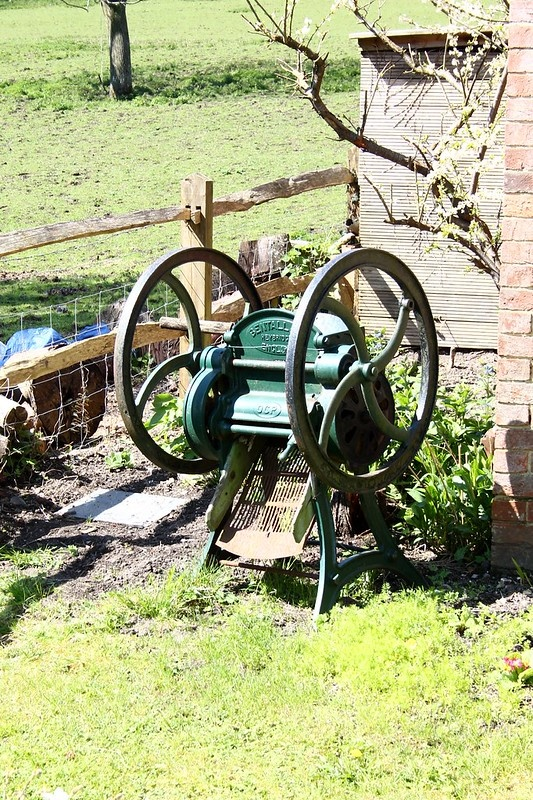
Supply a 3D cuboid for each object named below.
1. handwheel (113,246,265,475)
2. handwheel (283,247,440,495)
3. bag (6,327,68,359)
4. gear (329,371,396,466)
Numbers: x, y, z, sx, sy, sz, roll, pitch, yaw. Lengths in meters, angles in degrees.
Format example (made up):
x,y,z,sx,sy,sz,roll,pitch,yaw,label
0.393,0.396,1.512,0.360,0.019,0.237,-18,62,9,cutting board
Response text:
x,y,z,sx,sy,sz,roll,pitch,yaw,label
-0.361,-0.122,3.178,0.375,1.017,0.816,-1,12,23,handwheel
0.356,-0.100,2.652,0.083,0.864,0.888,4,12,41,handwheel
-1.688,-0.430,5.356,0.378,0.141,0.556,-9,11,-19,bag
0.339,0.063,2.704,0.092,0.275,0.297,2,22,34,gear
